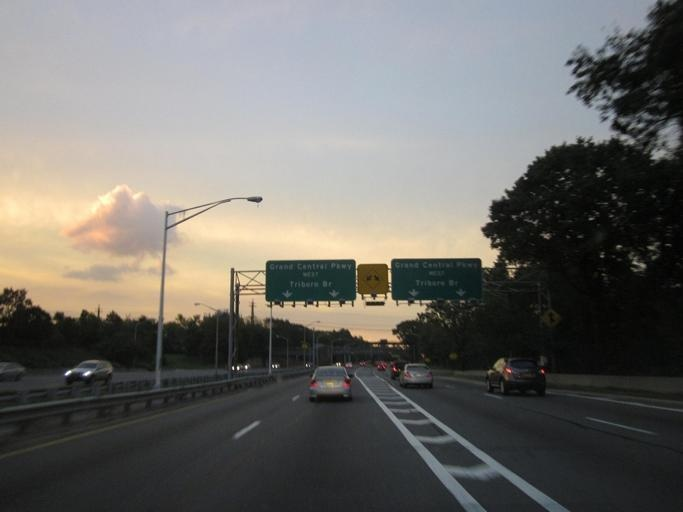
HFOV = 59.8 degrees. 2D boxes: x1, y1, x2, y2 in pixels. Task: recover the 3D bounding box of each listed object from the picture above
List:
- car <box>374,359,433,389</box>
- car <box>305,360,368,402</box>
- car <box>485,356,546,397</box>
[{"bbox_3d":[4.345,7.255,36.148,1.460,1.582,2.417,3,-14,-18],"label":"car"},{"bbox_3d":[-0.489,5.474,25.705,1.603,1.565,1.993,-9,-15,29],"label":"car"},{"bbox_3d":[8.475,5.885,29.342,1.532,1.480,3.090,0,-10,5],"label":"car"}]
